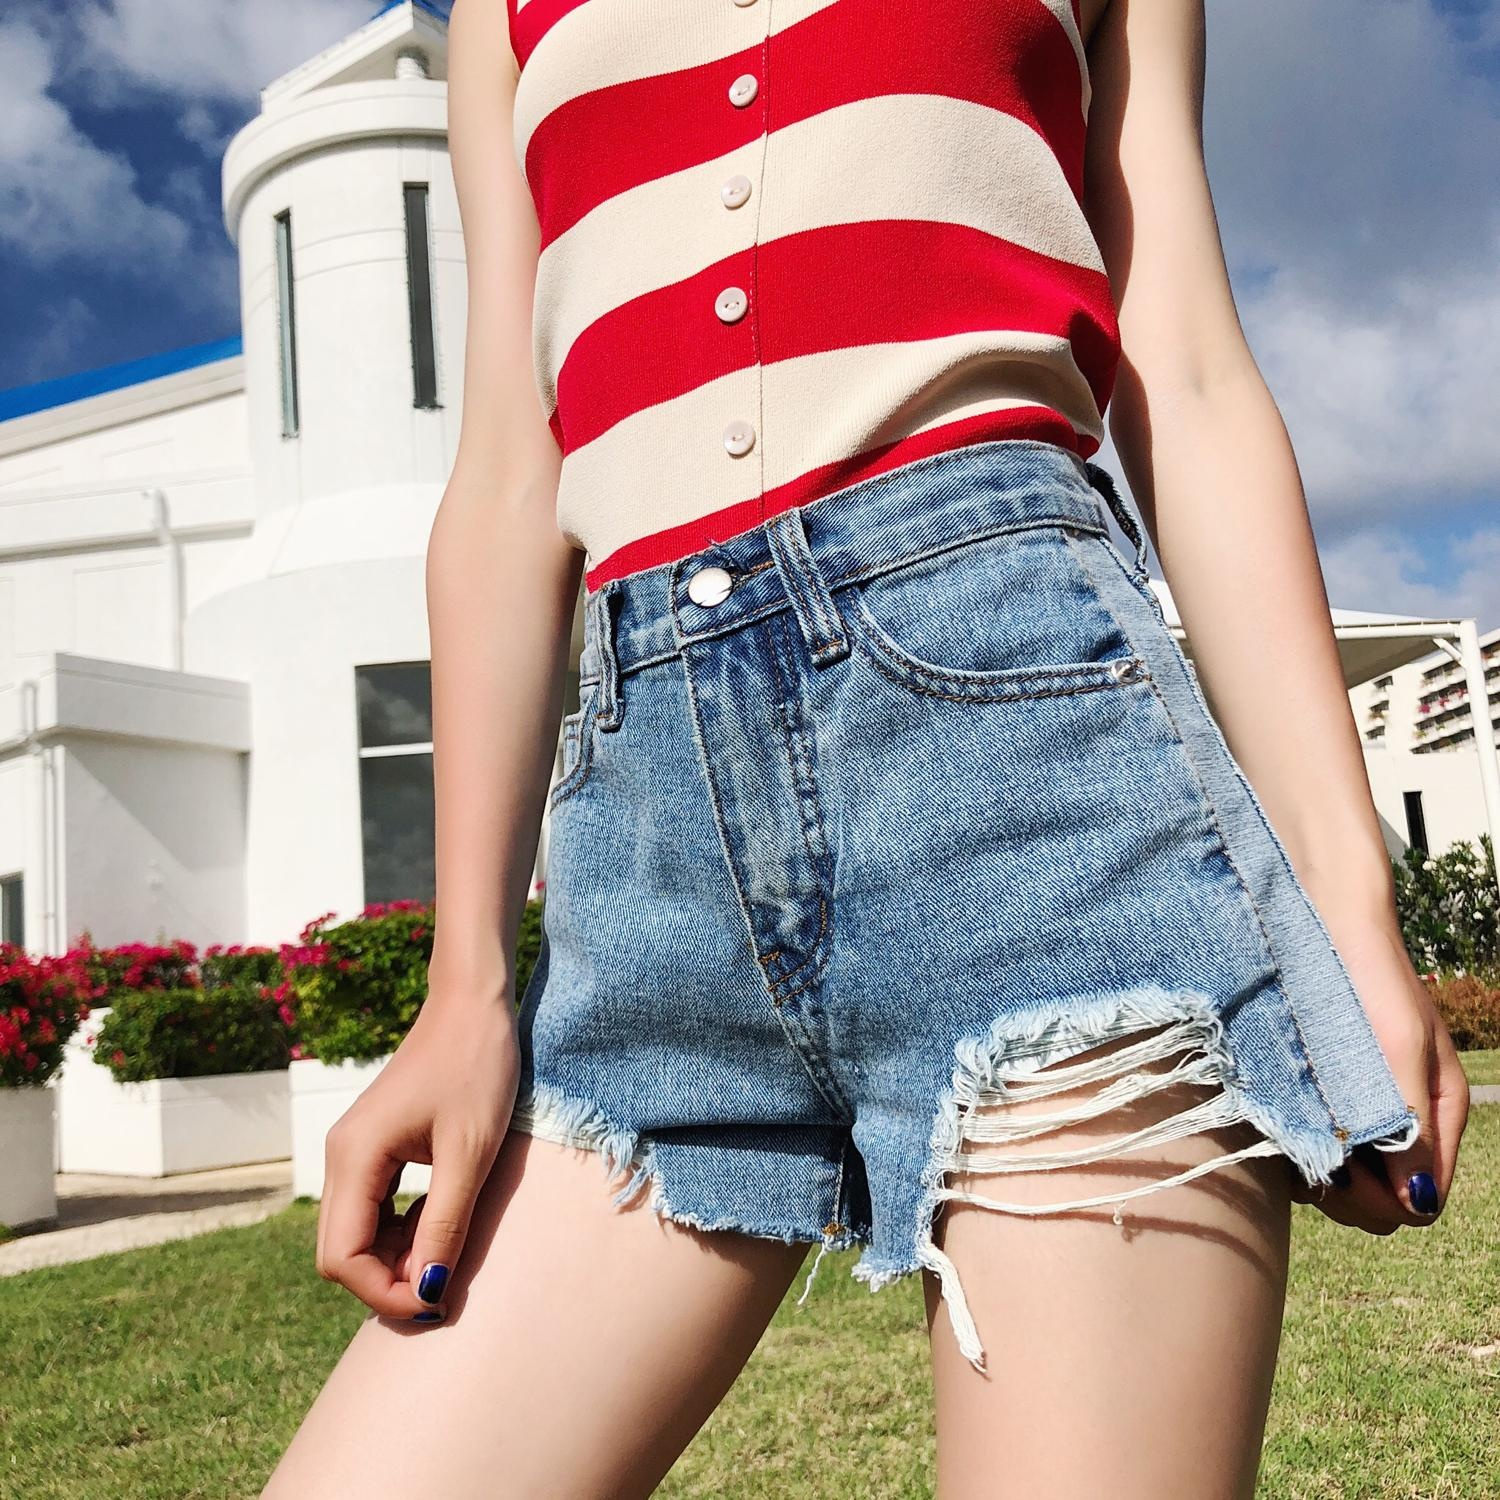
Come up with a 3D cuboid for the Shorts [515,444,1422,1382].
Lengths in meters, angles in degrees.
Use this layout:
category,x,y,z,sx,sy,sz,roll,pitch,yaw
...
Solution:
category,x,y,z,sx,sy,sz,roll,pitch,yaw
Shorts,0.136,0.113,1.105,0.612,0.466,0.332,-18,-20,30
